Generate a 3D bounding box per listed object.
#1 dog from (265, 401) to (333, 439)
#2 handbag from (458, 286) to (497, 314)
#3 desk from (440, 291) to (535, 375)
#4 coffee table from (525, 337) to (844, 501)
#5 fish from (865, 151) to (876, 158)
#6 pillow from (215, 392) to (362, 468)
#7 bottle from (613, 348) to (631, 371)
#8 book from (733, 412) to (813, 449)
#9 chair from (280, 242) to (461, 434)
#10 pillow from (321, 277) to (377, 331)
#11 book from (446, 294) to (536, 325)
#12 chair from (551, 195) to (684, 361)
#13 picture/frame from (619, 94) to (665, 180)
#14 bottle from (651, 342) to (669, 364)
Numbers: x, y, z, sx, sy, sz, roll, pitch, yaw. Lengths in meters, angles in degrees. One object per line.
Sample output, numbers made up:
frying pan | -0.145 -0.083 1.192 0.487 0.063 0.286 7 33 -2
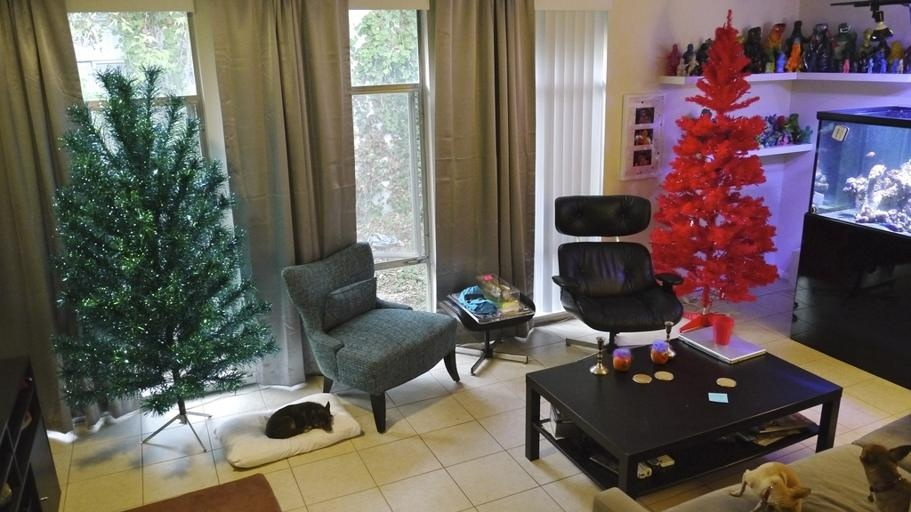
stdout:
dog | -1.342 1.408 5.233 0.524 0.187 0.277 -9 19 -20
handbag | 0.193 0.447 5.941 0.232 0.112 0.345 -20 30 -33
desk | 0.305 0.677 6.285 1.035 0.671 0.822 -9 30 -18
coffee table | 1.618 1.676 5.129 2.036 0.565 1.097 -10 27 -20
fish | 3.831 -0.925 5.602 0.047 0.055 0.022 -4 9 -21
pillow | -1.420 1.439 5.187 0.924 0.227 0.590 -3 16 -25
bottle | 1.375 0.875 5.109 0.188 0.150 0.180 2 -1 0
book | 2.592 1.400 4.880 0.399 0.081 0.347 -10 16 -23
chair | -0.760 0.532 5.626 0.964 1.097 1.046 14 27 42
pillow | -1.015 0.455 5.634 0.140 0.273 0.486 14 20 36
book | 0.407 0.552 5.881 0.446 0.121 0.446 -9 18 -26
chair | 1.614 0.095 6.440 1.685 1.610 1.531 -2 9 -9
picture/frame | 2.031 -1.301 6.633 0.574 0.888 0.177 -15 23 -24
bottle | 1.713 0.819 5.111 0.195 0.160 0.176 0 0 5
